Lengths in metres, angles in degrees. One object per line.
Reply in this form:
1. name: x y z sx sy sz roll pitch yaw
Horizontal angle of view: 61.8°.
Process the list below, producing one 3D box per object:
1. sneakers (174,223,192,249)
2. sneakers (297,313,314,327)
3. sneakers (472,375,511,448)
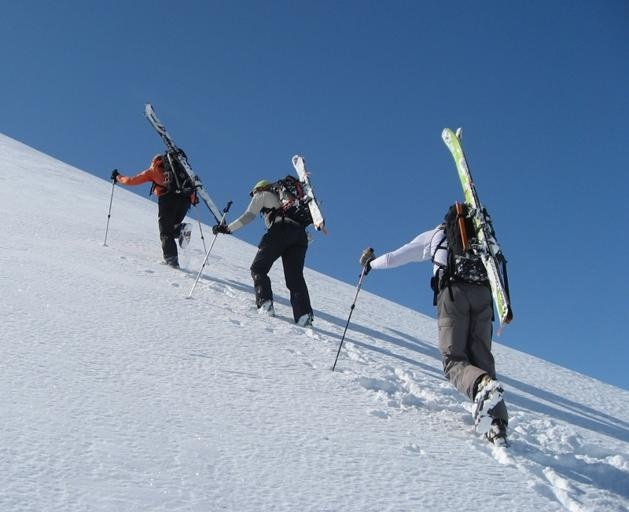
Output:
1. sneakers: -2.416 -0.402 9.529 0.233 0.574 0.184 19 15 36
2. sneakers: -0.126 0.895 7.246 0.138 0.166 0.213 13 -29 -21
3. sneakers: 1.522 1.337 4.491 0.205 0.636 0.275 -3 6 -7
